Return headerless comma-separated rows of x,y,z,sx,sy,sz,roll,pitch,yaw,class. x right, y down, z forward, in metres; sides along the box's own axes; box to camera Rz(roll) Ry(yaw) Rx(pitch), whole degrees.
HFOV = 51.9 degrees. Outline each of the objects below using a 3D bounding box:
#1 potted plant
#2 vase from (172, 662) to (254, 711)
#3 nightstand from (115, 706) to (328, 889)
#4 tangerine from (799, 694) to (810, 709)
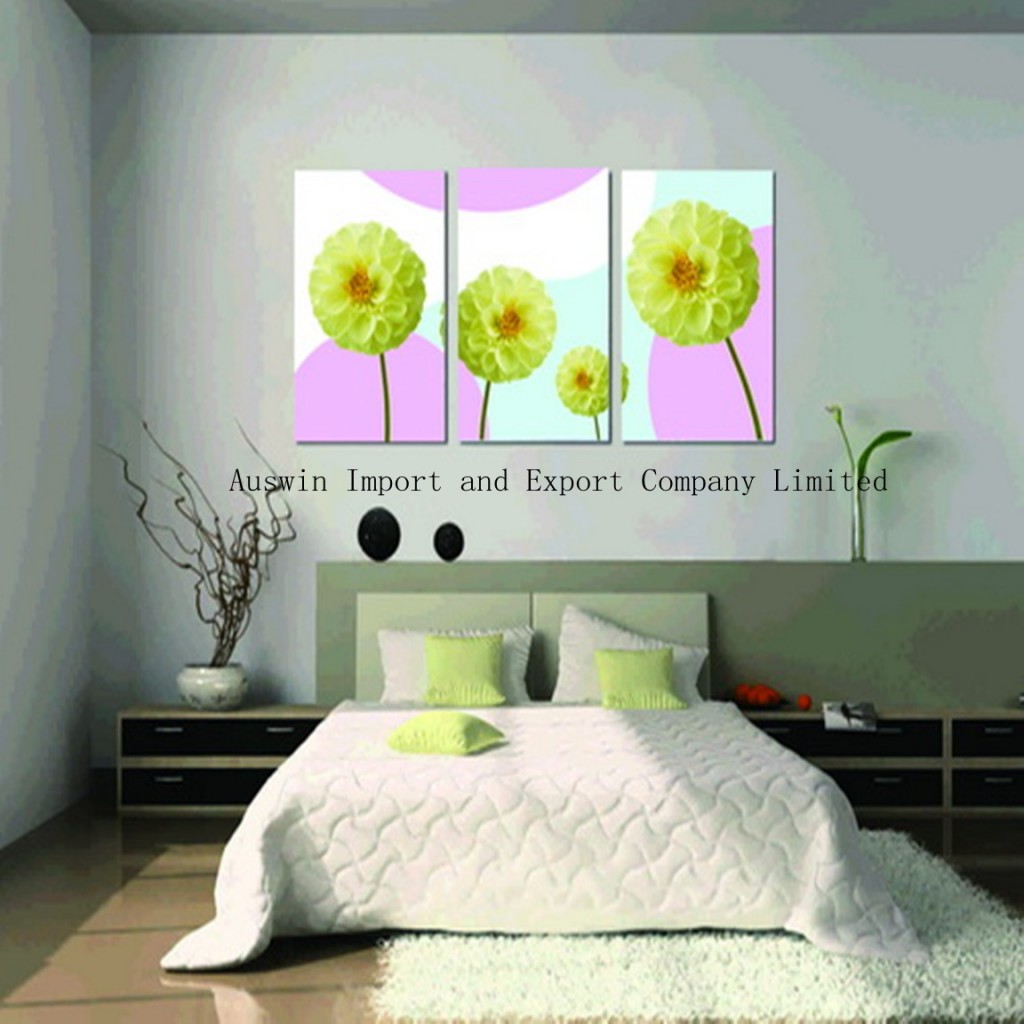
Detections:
1.818,-0.160,5.354,0.412,0.806,0.359,-1,2,16,potted plant
-1.442,0.830,5.051,0.214,0.142,0.224,-5,-8,27,vase
-1.449,1.426,4.909,0.781,0.495,0.491,0,4,-3,nightstand
1.418,0.920,5.094,0.047,0.058,0.052,-2,-8,10,tangerine
